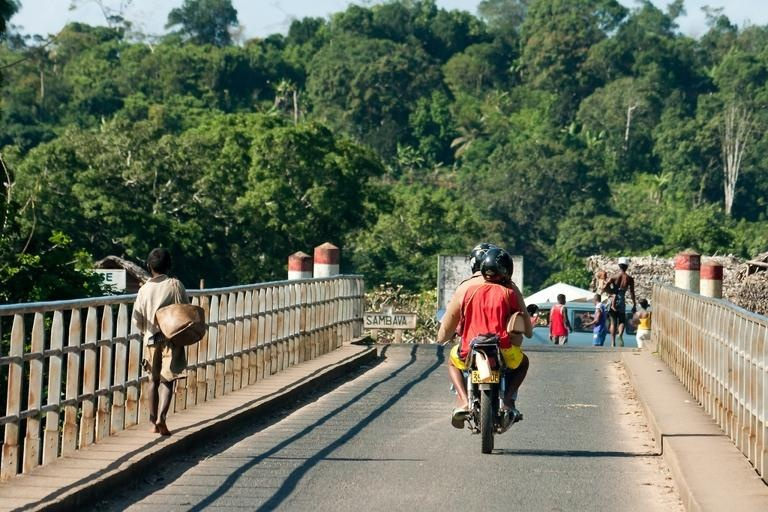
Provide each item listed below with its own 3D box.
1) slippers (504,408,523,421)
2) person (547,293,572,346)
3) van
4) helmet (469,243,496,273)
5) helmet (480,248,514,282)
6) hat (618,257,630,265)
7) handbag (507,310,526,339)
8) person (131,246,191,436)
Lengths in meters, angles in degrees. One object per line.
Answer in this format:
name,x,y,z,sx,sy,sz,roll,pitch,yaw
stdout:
slippers,1.606,1.931,14.032,0.208,0.093,0.142,7,-24,8
person,4.142,1.480,26.758,0.395,1.257,1.132,1,6,8
van,5.018,1.688,29.043,3.023,1.720,1.910,3,-1,4
helmet,1.288,0.026,14.733,0.301,0.377,0.373,4,-5,-10
helmet,1.397,0.118,13.995,0.414,0.416,0.336,1,6,-18
hat,5.342,0.126,25.313,0.227,0.123,0.322,5,6,12
handbag,1.654,0.851,14.036,0.213,0.445,0.302,3,-2,10
person,-2.718,1.052,13.942,0.641,2.231,0.481,1,6,-1
